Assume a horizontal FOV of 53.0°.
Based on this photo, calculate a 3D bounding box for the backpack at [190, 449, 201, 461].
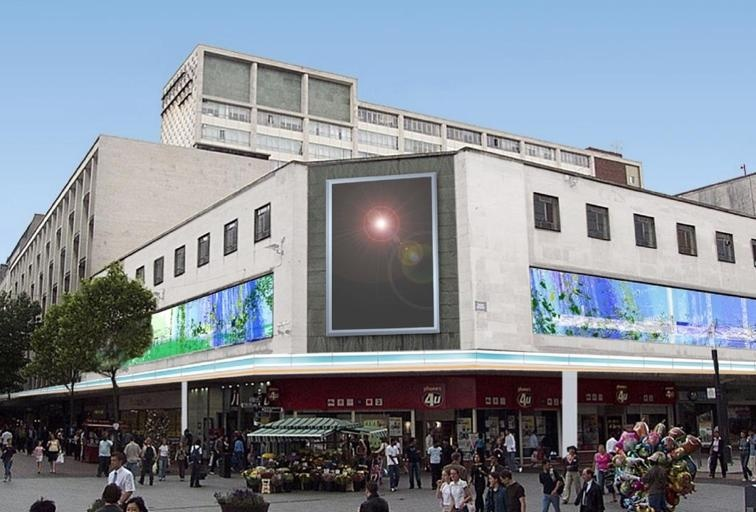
[{"bbox_3d":[-8.783,9.529,36.414,0.601,0.760,0.408,1,-19,-9],"label":"backpack"}]

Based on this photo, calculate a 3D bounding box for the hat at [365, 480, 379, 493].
[{"bbox_3d":[-0.195,6.849,22.462,0.336,0.386,0.409,4,-4,-1],"label":"hat"}]
